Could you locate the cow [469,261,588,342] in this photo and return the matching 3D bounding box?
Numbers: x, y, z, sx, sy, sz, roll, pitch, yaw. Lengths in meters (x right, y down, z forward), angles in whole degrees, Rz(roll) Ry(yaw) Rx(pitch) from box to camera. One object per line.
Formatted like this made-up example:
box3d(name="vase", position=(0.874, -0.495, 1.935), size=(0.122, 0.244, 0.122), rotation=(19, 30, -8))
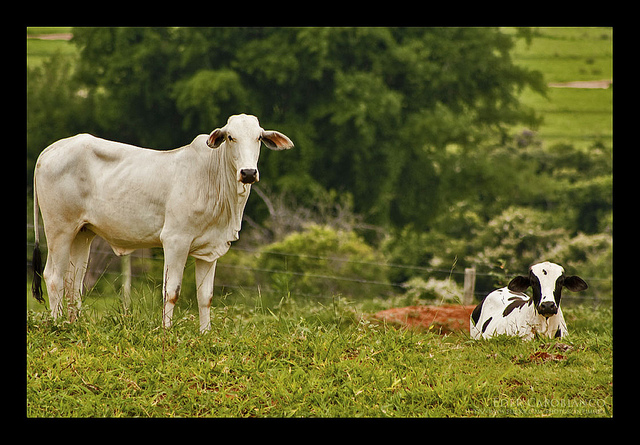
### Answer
box3d(name="cow", position=(2.349, 0.910, 16.529), size=(0.689, 0.899, 1.518), rotation=(3, -8, -17))
